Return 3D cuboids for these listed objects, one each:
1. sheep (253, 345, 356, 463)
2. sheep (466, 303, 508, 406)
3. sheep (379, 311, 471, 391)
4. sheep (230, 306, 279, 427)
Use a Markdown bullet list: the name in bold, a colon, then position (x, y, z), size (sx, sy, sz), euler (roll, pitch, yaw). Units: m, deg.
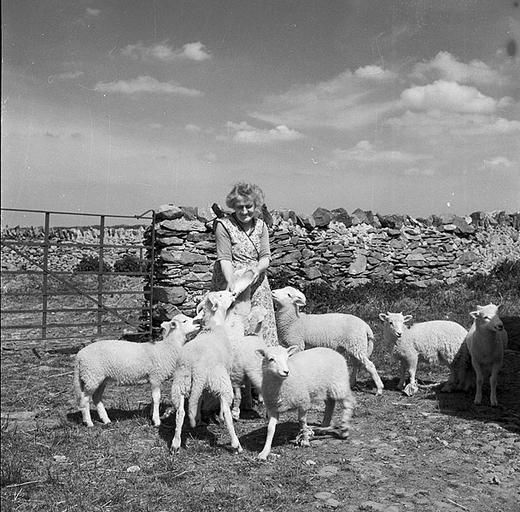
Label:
- **sheep**: position (0.421, 1.405, 5.620), size (1.316, 1.091, 0.745), euler (-1, -8, -44)
- **sheep**: position (2.807, 1.188, 6.889), size (0.477, 1.204, 0.811), euler (-1, 1, 24)
- **sheep**: position (2.278, 1.328, 7.567), size (1.536, 1.026, 0.452), euler (3, -1, -7)
- **sheep**: position (-0.061, 1.391, 6.486), size (0.313, 0.802, 0.958), euler (9, -16, 16)
